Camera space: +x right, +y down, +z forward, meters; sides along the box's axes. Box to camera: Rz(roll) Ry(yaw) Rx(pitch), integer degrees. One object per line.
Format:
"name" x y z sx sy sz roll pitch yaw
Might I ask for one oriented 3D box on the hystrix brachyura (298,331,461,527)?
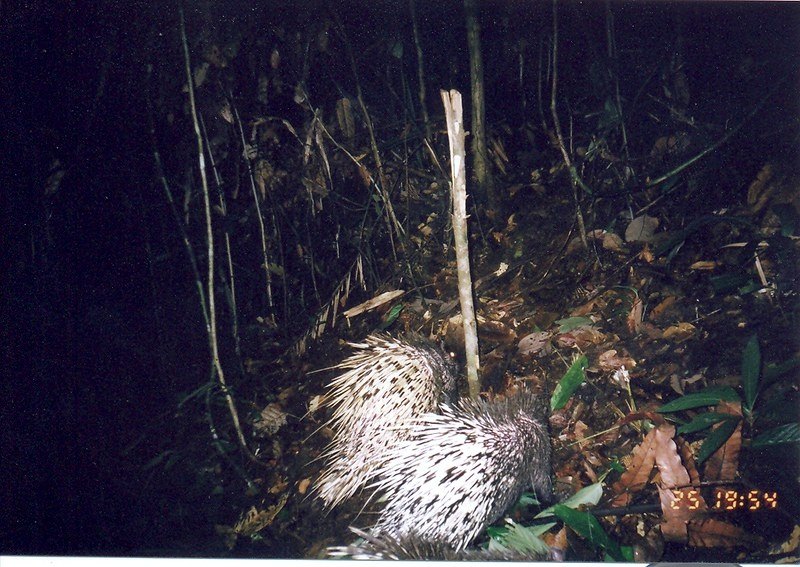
"hystrix brachyura" -0.097 0.361 2.060 0.517 0.365 0.204 -42 15 2
